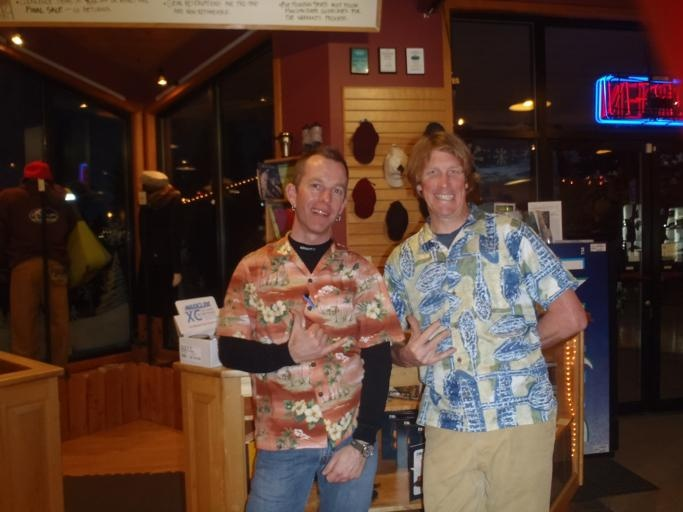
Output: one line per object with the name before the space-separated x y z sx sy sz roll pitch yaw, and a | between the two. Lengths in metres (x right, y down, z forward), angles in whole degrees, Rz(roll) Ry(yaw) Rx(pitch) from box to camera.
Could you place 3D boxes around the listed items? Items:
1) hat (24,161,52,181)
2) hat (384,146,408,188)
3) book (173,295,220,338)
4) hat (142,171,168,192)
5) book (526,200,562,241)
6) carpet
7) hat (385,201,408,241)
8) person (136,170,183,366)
hat | -2.989 -0.845 6.697 0.280 0.232 0.205 -4 10 -20
hat | 0.501 -0.815 6.220 0.102 0.325 0.281 14 45 42
book | -0.948 0.396 4.443 0.279 0.264 0.189 -4 15 -11
hat | -2.063 -0.825 7.473 0.324 0.228 0.256 -1 15 1
book | 1.714 -0.292 5.596 0.342 0.351 0.329 -2 8 -2
carpet | 2.005 1.717 5.139 0.627 0.072 0.705 -7 9 -21
hat | 0.514 -0.321 6.231 0.223 0.338 0.076 7 5 -11
person | -2.019 0.185 7.583 0.684 2.238 0.343 8 17 31
